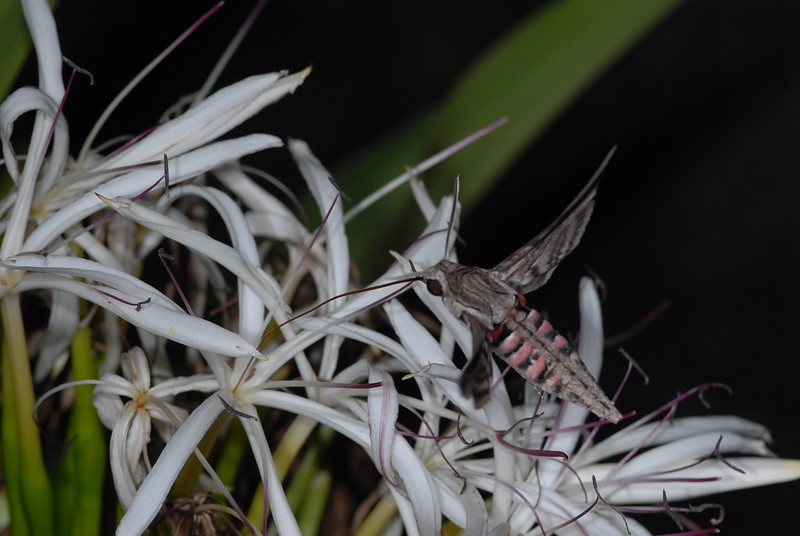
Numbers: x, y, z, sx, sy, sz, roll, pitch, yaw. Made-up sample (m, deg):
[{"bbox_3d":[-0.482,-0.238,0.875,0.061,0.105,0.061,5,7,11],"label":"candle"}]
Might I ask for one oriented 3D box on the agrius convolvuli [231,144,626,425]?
[{"bbox_3d":[0.134,0.052,1.197,0.379,0.394,0.240,7,-43,18],"label":"agrius convolvuli"}]
